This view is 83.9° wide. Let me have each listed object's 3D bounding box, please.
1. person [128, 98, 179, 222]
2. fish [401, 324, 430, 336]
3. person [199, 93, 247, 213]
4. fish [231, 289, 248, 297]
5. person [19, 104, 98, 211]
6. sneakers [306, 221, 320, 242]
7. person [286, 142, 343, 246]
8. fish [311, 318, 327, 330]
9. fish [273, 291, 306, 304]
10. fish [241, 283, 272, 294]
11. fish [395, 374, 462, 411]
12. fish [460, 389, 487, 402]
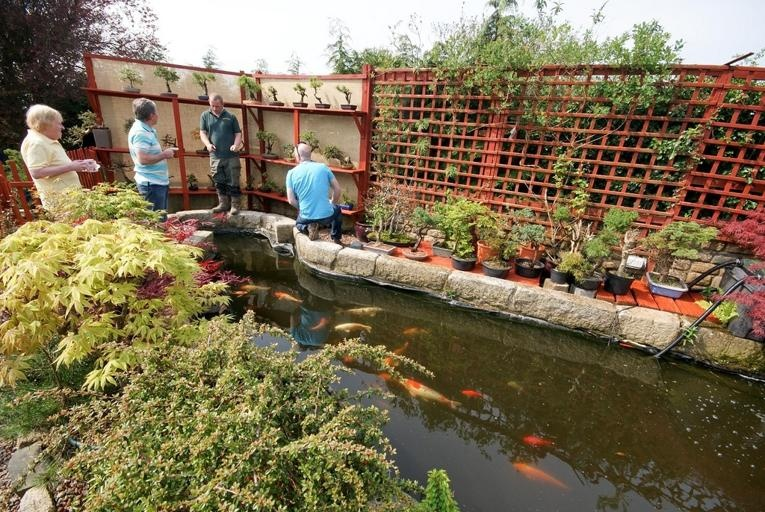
[{"bbox_3d":[-3.618,-1.503,6.577,0.499,1.752,0.557,12,26,14],"label":"person"},{"bbox_3d":[0.476,1.128,6.390,0.389,0.014,0.228,0,23,-12],"label":"fish"},{"bbox_3d":[-3.156,-1.952,8.413,0.708,2.357,0.311,-1,26,-14],"label":"person"},{"bbox_3d":[-2.229,0.572,6.675,0.133,0.090,0.245,24,29,36],"label":"fish"},{"bbox_3d":[-4.152,-1.370,5.409,0.668,1.033,0.412,-14,31,-35],"label":"person"},{"bbox_3d":[-1.228,-0.436,7.670,0.152,0.369,0.165,-2,20,-37],"label":"sneakers"},{"bbox_3d":[-1.197,-1.054,7.558,1.025,1.740,0.598,4,25,-2],"label":"person"},{"bbox_3d":[-0.927,1.026,6.418,0.164,0.037,0.359,12,24,16],"label":"fish"},{"bbox_3d":[-1.559,0.680,7.017,0.556,0.144,0.181,17,7,16],"label":"fish"},{"bbox_3d":[-2.036,0.540,6.977,0.527,0.165,0.112,-2,2,-25],"label":"fish"},{"bbox_3d":[0.540,1.683,5.182,0.951,0.187,0.388,18,0,5],"label":"fish"},{"bbox_3d":[1.137,1.730,5.310,0.317,0.030,0.148,8,23,8],"label":"fish"}]
